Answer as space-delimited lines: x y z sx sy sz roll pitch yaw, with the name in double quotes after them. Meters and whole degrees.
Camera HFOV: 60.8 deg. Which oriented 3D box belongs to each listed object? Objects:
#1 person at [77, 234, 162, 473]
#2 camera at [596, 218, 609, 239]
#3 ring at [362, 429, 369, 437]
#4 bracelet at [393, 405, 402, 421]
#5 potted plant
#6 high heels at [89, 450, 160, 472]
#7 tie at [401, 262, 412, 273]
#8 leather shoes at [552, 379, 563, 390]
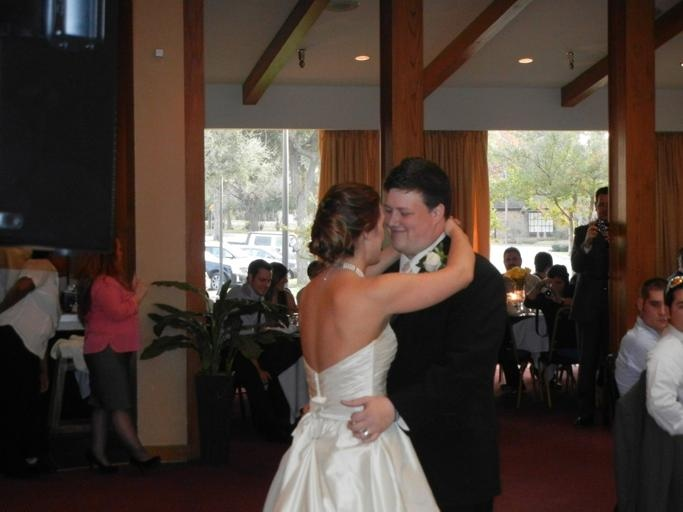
-1.560 0.722 4.060 0.496 1.658 0.731 0 1 -25 "person"
2.260 -0.247 5.035 0.128 0.148 0.046 1 0 9 "camera"
0.074 0.530 1.734 0.017 0.023 0.014 0 1 6 "ring"
0.165 0.468 1.733 0.031 0.033 0.033 -6 4 18 "bracelet"
-0.974 0.843 4.318 1.094 1.299 1.060 -12 -17 42 "potted plant"
-1.562 1.484 4.207 0.395 0.181 0.144 -4 -5 1 "high heels"
0.231 0.043 2.074 0.029 0.038 0.035 0 8 14 "tie"
2.499 1.482 6.708 0.102 0.133 0.086 0 5 -11 "leather shoes"
